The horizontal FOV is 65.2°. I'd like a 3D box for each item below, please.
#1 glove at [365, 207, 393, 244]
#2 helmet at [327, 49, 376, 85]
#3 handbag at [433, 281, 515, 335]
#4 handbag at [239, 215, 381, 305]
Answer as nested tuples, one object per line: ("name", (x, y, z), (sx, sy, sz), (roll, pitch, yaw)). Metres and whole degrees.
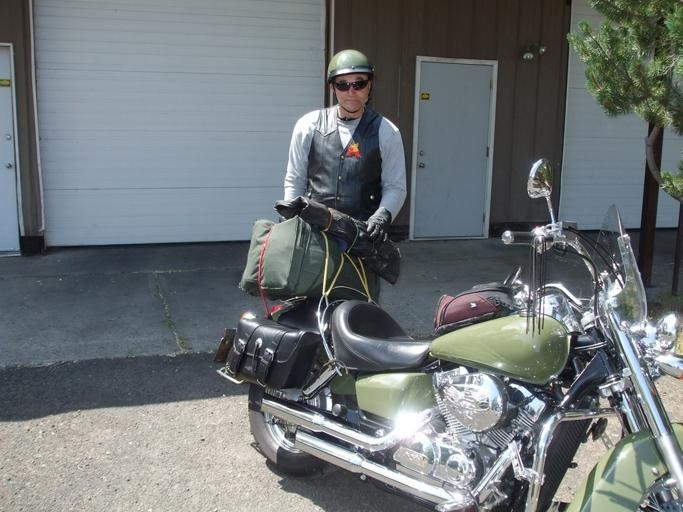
("glove", (0.220, -0.178, 3.153), (0.114, 0.077, 0.228), (18, 41, -1))
("helmet", (0.048, -1.226, 3.439), (0.334, 0.194, 0.432), (-1, 18, 14))
("handbag", (0.642, 0.239, 2.600), (0.287, 0.130, 0.239), (-18, 9, 1))
("handbag", (-0.167, 0.038, 3.293), (0.606, 0.415, 0.919), (2, -5, 37))
